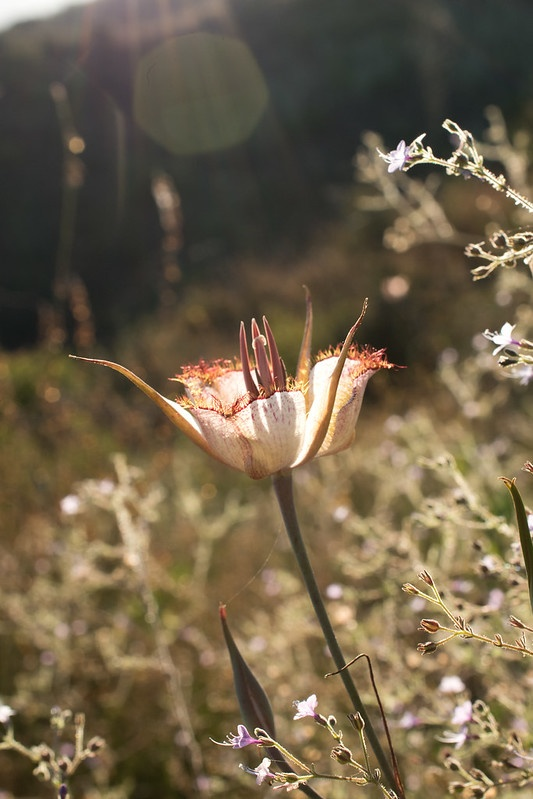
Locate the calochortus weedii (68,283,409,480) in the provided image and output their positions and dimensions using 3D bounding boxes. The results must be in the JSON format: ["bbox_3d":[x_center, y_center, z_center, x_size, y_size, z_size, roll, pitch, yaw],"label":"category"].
[{"bbox_3d":[0.018,0.017,2.746,0.707,0.665,0.287,-7,87,19],"label":"calochortus weedii"}]
